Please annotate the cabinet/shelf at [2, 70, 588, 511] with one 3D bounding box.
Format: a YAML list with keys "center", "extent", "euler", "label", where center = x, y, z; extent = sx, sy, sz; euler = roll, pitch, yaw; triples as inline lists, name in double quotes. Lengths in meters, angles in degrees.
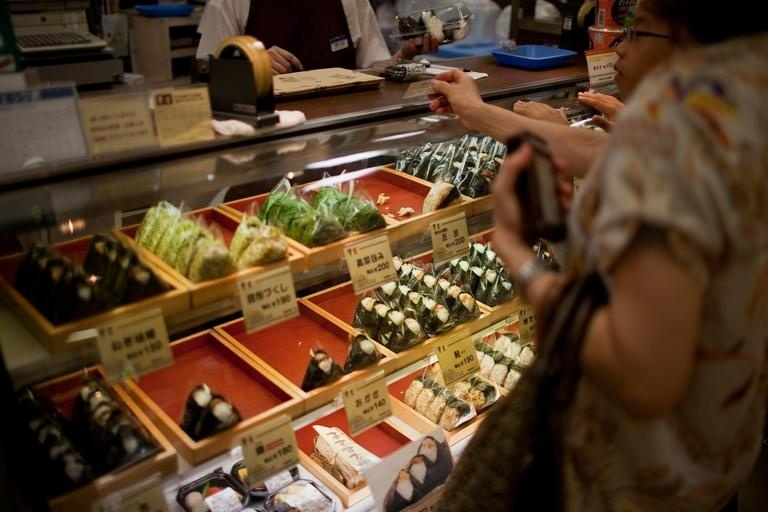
- center: [-0.615, -0.189, 2.431]
  extent: [1.878, 1.234, 1.578]
  euler: [-23, 38, -20]
  label: "cabinet/shelf"

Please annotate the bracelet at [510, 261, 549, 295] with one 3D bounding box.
- center: [0.281, 0.047, 1.006]
  extent: [0.065, 0.055, 0.065]
  euler: [9, -12, -6]
  label: "bracelet"

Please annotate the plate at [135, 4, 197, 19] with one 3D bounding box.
- center: [-2.344, -2.645, 5.492]
  extent: [0.548, 0.149, 0.346]
  euler: [-13, 29, -15]
  label: "plate"
